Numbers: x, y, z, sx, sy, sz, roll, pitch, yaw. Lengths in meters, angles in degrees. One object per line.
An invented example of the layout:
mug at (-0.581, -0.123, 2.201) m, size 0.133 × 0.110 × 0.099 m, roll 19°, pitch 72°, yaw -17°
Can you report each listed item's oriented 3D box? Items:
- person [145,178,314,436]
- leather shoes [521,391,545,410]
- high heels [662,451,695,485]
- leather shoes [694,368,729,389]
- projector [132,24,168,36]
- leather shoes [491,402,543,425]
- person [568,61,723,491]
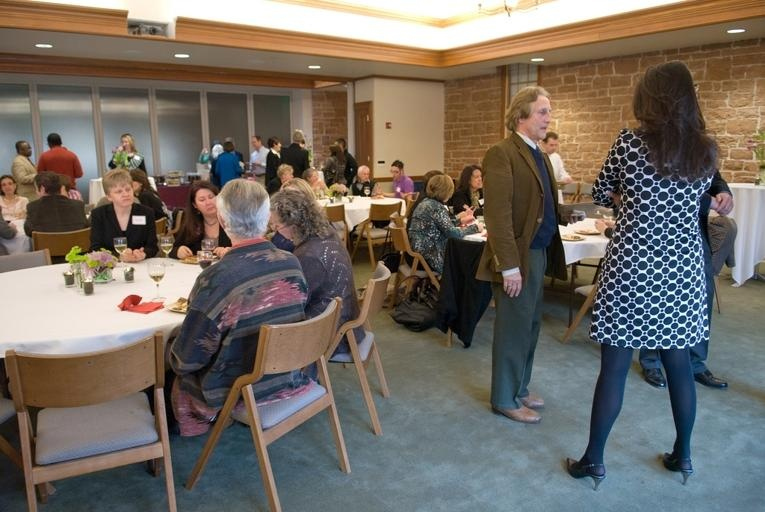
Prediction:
person at (-0.828, 0.344, 2.967) m, size 0.827 × 1.499 × 0.370 m, roll -5°, pitch 14°, yaw -10°
leather shoes at (1.051, 1.022, 3.791) m, size 0.162 × 0.058 × 0.097 m, roll 1°, pitch 12°, yaw 23°
high heels at (1.714, 1.236, 3.164) m, size 0.087 × 0.102 × 0.240 m, roll -9°, pitch 11°, yaw 6°
leather shoes at (2.449, 0.940, 4.088) m, size 0.282 × 0.109 × 0.104 m, roll 2°, pitch 12°, yaw 34°
projector at (-3.238, -3.061, 7.392) m, size 0.316 × 0.113 × 0.236 m, roll 5°, pitch 14°, yaw 13°
leather shoes at (0.920, 1.081, 3.705) m, size 0.275 × 0.117 × 0.124 m, roll -3°, pitch 3°, yaw 20°
person at (1.401, 0.144, 2.994) m, size 0.732 × 2.318 × 0.354 m, roll -4°, pitch 13°, yaw -5°
